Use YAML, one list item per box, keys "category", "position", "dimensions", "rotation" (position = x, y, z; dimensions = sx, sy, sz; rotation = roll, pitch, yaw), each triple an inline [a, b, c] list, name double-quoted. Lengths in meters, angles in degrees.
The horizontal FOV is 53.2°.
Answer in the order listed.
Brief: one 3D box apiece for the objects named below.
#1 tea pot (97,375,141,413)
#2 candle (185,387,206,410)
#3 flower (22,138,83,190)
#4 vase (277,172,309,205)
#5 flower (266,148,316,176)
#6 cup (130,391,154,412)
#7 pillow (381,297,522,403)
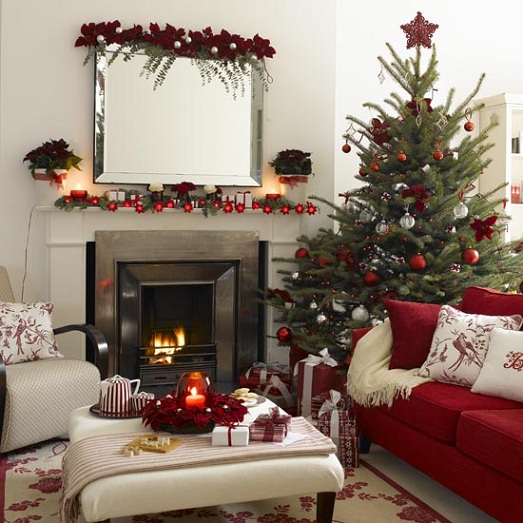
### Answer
- category: "tea pot"
  position: [-0.547, 0.523, 2.079]
  dimensions: [0.131, 0.124, 0.172]
  rotation: [-1, -3, 44]
- category: "candle"
  position: [-0.231, 0.493, 1.884]
  dimensions: [0.070, 0.055, 0.067]
  rotation: [3, 5, 32]
- category: "flower"
  position: [-1.369, -0.648, 3.435]
  dimensions: [0.347, 0.302, 0.149]
  rotation: [-3, 6, -17]
- category: "vase"
  position: [0.250, -0.567, 3.977]
  dimensions: [0.230, 0.198, 0.226]
  rotation: [-1, 3, -26]
- category: "flower"
  position: [0.233, -0.733, 3.959]
  dimensions: [0.262, 0.130, 0.234]
  rotation: [1, 2, -2]
- category: "cup"
  position: [-0.453, 0.536, 2.014]
  dimensions: [0.082, 0.056, 0.088]
  rotation: [1, -6, 0]
- category: "pillow"
  position: [0.834, 0.397, 2.269]
  dimensions: [0.521, 0.291, 0.164]
  rotation: [4, -16, 46]
